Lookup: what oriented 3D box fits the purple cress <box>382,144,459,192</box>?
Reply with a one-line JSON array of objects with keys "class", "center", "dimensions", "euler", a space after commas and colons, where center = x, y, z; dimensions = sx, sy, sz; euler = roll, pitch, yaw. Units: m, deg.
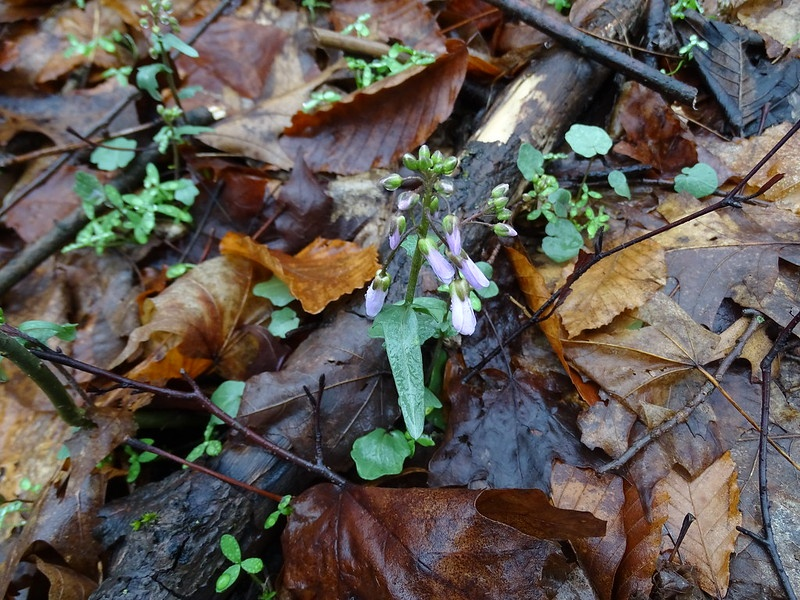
[{"class": "purple cress", "center": [0.129, -1.018, 5.752], "dimensions": [0.530, 0.530, 0.233], "euler": [-24, 99, -31]}]

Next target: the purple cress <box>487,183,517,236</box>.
[{"class": "purple cress", "center": [0.701, -0.634, 5.310], "dimensions": [0.141, 0.383, 0.232], "euler": [10, 34, 32]}]

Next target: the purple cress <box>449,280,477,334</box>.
[{"class": "purple cress", "center": [0.434, 0.041, 5.259], "dimensions": [0.172, 0.156, 0.374], "euler": [-11, 92, 7]}]

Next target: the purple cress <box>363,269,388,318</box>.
[{"class": "purple cress", "center": [-0.175, -0.051, 5.381], "dimensions": [0.148, 0.133, 0.438], "euler": [9, 115, 1]}]

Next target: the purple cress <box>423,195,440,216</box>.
[{"class": "purple cress", "center": [0.216, -0.652, 5.063], "dimensions": [0.109, 0.085, 0.116], "euler": [-7, 82, 32]}]

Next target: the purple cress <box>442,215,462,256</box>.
[{"class": "purple cress", "center": [0.358, -0.438, 5.118], "dimensions": [0.123, 0.127, 0.278], "euler": [1, 82, -24]}]

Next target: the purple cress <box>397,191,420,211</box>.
[{"class": "purple cress", "center": [0.057, -0.668, 5.045], "dimensions": [0.112, 0.051, 0.130], "euler": [34, 64, 17]}]

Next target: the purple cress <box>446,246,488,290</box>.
[{"class": "purple cress", "center": [0.468, -0.226, 5.367], "dimensions": [0.436, 0.153, 0.124], "euler": [54, 51, -21]}]

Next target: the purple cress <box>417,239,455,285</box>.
[{"class": "purple cress", "center": [0.245, -0.277, 5.163], "dimensions": [0.159, 0.154, 0.385], "euler": [-33, 96, 13]}]
